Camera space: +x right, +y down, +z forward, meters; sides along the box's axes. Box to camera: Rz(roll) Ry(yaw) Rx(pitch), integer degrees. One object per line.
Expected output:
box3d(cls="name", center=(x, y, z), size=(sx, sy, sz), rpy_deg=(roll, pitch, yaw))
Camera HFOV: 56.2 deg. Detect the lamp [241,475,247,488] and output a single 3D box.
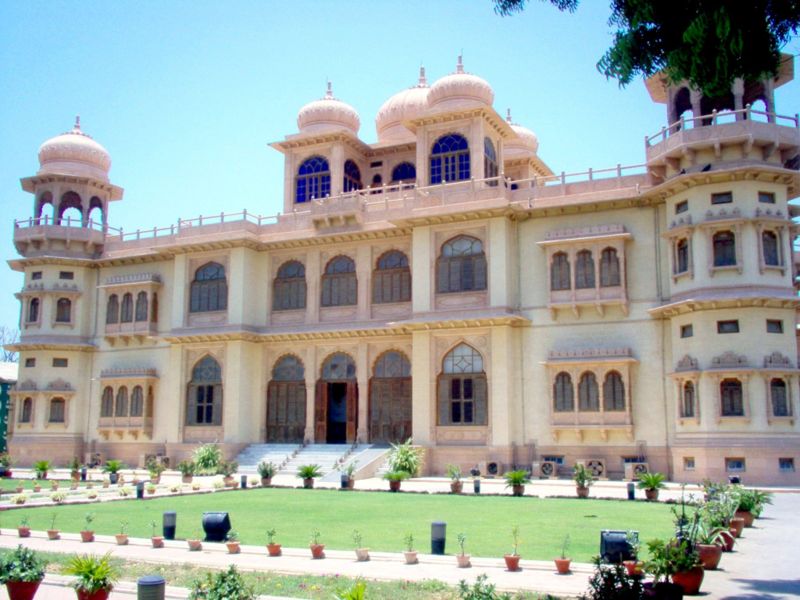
box3d(cls="lamp", center=(-5.717, 6.679, 27.609), size=(0.235, 0.458, 0.750), rpy_deg=(2, -15, -11))
